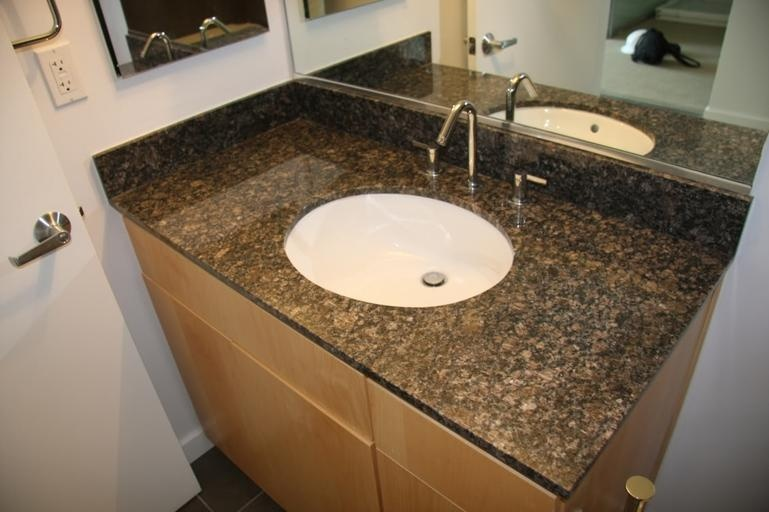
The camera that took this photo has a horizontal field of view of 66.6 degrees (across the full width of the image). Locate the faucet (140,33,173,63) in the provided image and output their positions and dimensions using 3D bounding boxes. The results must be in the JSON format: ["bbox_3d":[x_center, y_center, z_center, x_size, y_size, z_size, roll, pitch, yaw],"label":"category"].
[{"bbox_3d":[-0.740,-0.675,1.881,0.089,0.085,0.032,-11,46,-33],"label":"faucet"}]

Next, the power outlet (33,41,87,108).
[{"bbox_3d":[-0.990,-0.555,1.793,0.099,0.177,0.043,-24,43,-29],"label":"power outlet"}]
